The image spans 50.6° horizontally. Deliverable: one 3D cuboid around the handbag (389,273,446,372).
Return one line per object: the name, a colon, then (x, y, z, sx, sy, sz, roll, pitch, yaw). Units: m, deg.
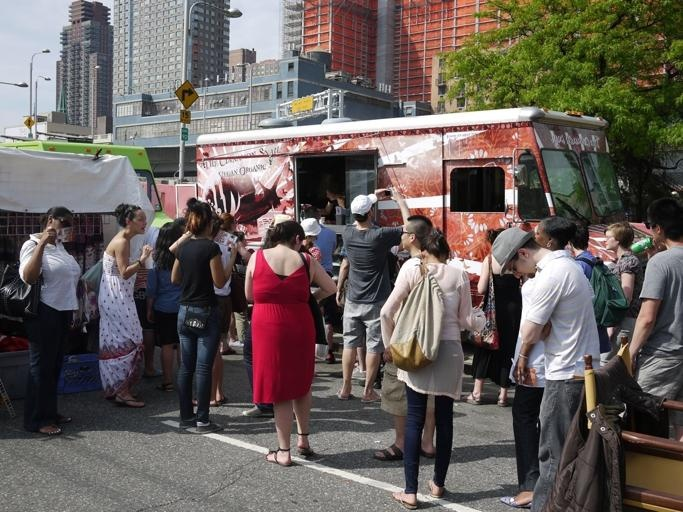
handbag: (0.655, 0.591, 6.242, 0.455, 0.841, 0.276, 2, 8, 8)

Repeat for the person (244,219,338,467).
person: (-0.516, 0.835, 7.028, 0.728, 2.323, 0.574, -1, 8, -11)

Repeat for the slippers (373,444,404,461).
slippers: (0.474, 1.959, 7.172, 0.244, 0.126, 0.136, 5, -2, -8)

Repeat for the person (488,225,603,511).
person: (1.721, 0.918, 6.047, 0.623, 2.254, 0.695, -4, 9, -33)

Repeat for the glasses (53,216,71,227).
glasses: (-3.014, -0.378, 7.815, 0.122, 0.137, 0.105, -27, 25, -25)

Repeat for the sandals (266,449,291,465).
sandals: (-0.603, 1.946, 6.984, 0.127, 0.112, 0.231, 1, 7, -37)

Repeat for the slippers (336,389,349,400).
slippers: (0.019, 1.713, 8.840, 0.100, 0.092, 0.229, 1, -5, -2)

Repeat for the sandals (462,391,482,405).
sandals: (1.612, 1.759, 8.891, 0.100, 0.128, 0.288, 2, 0, -22)

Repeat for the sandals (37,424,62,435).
sandals: (-3.066, 1.839, 7.575, 0.225, 0.083, 0.135, -3, 9, -24)

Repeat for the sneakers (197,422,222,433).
sneakers: (-1.409, 1.804, 7.694, 0.282, 0.131, 0.105, 0, 1, -38)

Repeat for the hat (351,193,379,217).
hat: (0.285, -0.642, 8.609, 0.192, 0.178, 0.328, 2, 46, 36)

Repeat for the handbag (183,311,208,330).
handbag: (-1.502, 0.675, 7.499, 0.147, 0.131, 0.061, 10, 4, 1)

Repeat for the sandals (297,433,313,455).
sandals: (-0.358, 1.887, 7.239, 0.089, 0.208, 0.268, 0, 2, 5)

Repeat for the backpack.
backpack: (2.458, 0.362, 6.786, 0.396, 0.781, 0.475, -18, -22, 36)

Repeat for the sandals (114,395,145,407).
sandals: (-2.478, 1.720, 8.454, 0.343, 0.115, 0.146, 1, 4, 12)

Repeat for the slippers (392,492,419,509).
slippers: (0.564, 2.111, 6.284, 0.093, 0.153, 0.221, 3, 10, -33)

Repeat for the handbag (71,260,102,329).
handbag: (-3.078, 0.476, 8.779, 0.229, 0.719, 0.497, 9, -10, -4)

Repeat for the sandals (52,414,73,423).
sandals: (-3.048, 1.788, 7.880, 0.067, 0.081, 0.200, -1, -11, 29)

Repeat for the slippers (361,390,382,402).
slippers: (0.366, 1.707, 8.736, 0.092, 0.141, 0.292, 2, 4, 32)

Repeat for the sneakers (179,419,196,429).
sneakers: (-1.653, 1.812, 7.774, 0.164, 0.109, 0.047, -1, 8, -15)
